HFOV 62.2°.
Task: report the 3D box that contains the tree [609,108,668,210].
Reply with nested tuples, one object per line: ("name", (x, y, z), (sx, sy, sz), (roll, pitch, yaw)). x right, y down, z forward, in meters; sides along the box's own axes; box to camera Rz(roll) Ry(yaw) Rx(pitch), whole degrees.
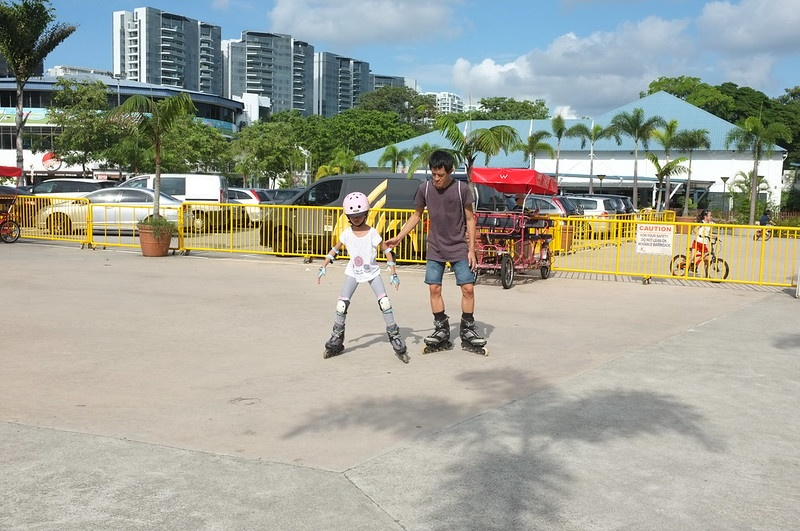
("tree", (17.512, -8.237, 49.438), (3.957, 7.295, 14.723), (4, 11, 19))

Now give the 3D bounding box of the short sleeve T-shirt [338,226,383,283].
("short sleeve T-shirt", (-0.500, -0.133, 8.221), (0.519, 0.692, 0.258), (-1, 11, -6))

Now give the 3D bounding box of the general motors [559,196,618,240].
("general motors", (8.356, -2.502, 29.031), (1.583, 1.505, 3.190), (-15, 20, -21))

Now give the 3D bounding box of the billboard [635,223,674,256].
("billboard", (5.630, -0.601, 14.643), (0.710, 0.634, 0.107), (0, 5, 14))

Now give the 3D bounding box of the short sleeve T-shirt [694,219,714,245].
("short sleeve T-shirt", (6.883, -0.698, 15.093), (0.330, 0.609, 0.895), (5, 11, 23))

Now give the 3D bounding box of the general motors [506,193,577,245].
("general motors", (5.230, -1.855, 24.057), (2.057, 1.906, 3.746), (4, 14, 25))

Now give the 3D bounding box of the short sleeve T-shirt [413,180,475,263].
("short sleeve T-shirt", (0.592, -0.559, 8.334), (0.575, 1.009, 0.267), (1, 11, 4))

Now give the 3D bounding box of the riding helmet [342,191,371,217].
("riding helmet", (-0.526, -0.747, 7.977), (0.243, 0.264, 0.341), (1, 22, 9))

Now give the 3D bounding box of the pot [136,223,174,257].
("pot", (-6.387, -0.665, 17.319), (0.845, 0.647, 0.830), (1, 1, 0))

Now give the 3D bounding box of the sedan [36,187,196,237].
("sedan", (-8.605, -1.758, 21.572), (5.334, 1.748, 2.263), (2, 6, -6))

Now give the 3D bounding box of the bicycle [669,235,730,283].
("bicycle", (6.951, -0.127, 15.407), (1.602, 1.140, 1.070), (2, 9, 28))

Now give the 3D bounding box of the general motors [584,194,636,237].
("general motors", (8.903, -2.342, 29.930), (3.066, 1.563, 1.638), (5, 8, -3))
